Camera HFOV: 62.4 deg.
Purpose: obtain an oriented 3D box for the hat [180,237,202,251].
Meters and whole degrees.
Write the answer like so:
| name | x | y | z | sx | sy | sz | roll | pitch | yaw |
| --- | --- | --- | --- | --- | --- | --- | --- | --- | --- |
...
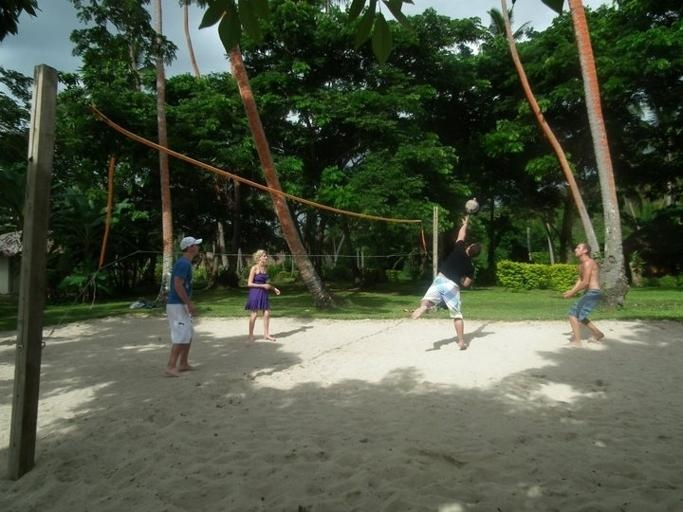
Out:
| name | x | y | z | sx | sy | sz | roll | pitch | yaw |
| --- | --- | --- | --- | --- | --- | --- | --- | --- | --- |
| hat | -2.251 | -0.190 | 8.413 | 0.312 | 0.148 | 0.193 | -14 | 16 | -28 |

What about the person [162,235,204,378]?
| name | x | y | z | sx | sy | sz | roll | pitch | yaw |
| --- | --- | --- | --- | --- | --- | --- | --- | --- | --- |
| person | -2.400 | 0.761 | 8.555 | 0.566 | 2.092 | 0.922 | -2 | 7 | -17 |

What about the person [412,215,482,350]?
| name | x | y | z | sx | sy | sz | roll | pitch | yaw |
| --- | --- | --- | --- | --- | --- | --- | --- | --- | --- |
| person | 1.856 | 0.488 | 9.841 | 1.014 | 2.365 | 1.387 | 2 | 7 | 13 |
